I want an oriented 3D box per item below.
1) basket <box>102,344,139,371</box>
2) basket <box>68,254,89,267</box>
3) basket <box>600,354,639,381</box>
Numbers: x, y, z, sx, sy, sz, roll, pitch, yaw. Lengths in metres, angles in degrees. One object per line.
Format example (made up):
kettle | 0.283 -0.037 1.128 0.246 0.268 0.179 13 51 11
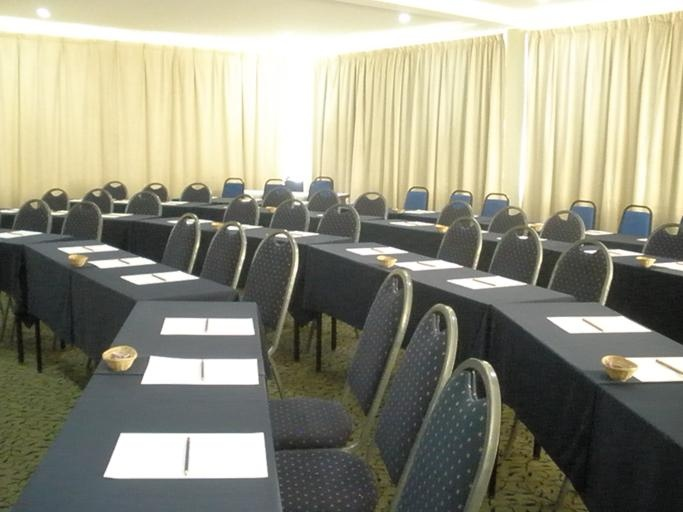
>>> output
basket | -0.731 0.327 1.739 0.077 0.046 0.085 1 -1 -4
basket | -1.513 0.022 3.014 0.081 0.057 0.089 2 -4 -7
basket | 0.916 0.360 1.723 0.077 0.042 0.074 -1 2 38
